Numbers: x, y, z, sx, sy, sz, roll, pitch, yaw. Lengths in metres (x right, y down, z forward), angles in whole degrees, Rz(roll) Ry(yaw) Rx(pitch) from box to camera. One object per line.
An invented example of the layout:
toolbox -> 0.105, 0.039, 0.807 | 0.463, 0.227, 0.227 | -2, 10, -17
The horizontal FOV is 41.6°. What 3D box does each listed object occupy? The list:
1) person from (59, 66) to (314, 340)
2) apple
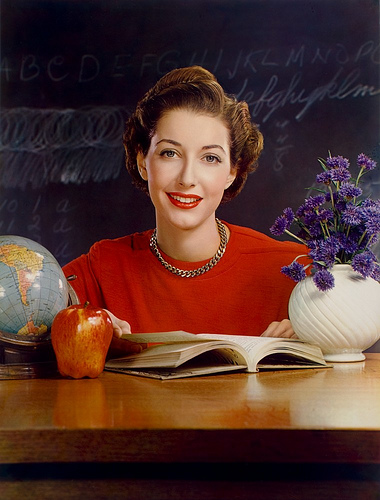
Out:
person -> -0.008, -0.146, 1.507 | 1.041, 0.616, 0.444 | 1, -10, -5
apple -> -0.198, 0.169, 0.910 | 0.123, 0.113, 0.112 | 5, -9, -23
